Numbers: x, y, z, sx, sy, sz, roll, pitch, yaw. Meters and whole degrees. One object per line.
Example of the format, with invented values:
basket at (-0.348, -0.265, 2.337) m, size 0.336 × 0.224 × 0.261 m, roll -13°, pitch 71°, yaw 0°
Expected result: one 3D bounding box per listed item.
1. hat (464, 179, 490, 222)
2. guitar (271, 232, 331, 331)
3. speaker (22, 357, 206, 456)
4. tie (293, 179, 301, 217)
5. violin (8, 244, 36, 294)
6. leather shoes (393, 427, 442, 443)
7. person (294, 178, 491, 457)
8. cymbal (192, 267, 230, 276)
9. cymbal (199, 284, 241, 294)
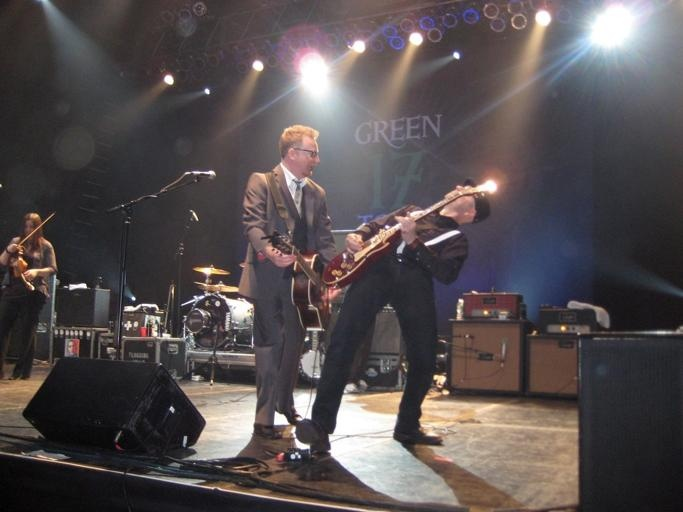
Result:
hat at (1.143, -0.453, 4.870) m, size 0.131 × 0.346 × 0.236 m, roll -16°, pitch 0°, yaw -28°
guitar at (-0.265, 0.226, 4.597) m, size 0.117 × 0.387 × 0.761 m, roll -4°, pitch -43°, yaw 19°
speaker at (-1.543, 0.993, 4.074) m, size 1.108 × 0.591 × 0.520 m, roll 5°, pitch -9°, yaw 0°
tie at (-0.354, -0.491, 4.853) m, size 0.029 × 0.226 × 0.108 m, roll 0°, pitch -5°, yaw 23°
violin at (-4.068, 0.178, 7.627) m, size 0.245 × 0.490 × 0.460 m, roll -12°, pitch 18°, yaw -9°
leather shoes at (0.581, 1.366, 4.653) m, size 0.333 × 0.152 × 0.128 m, roll -1°, pitch -13°, yaw 6°
person at (0.428, 0.383, 4.563) m, size 1.301 × 2.151 × 0.576 m, roll 6°, pitch -9°, yaw -5°
cymbal at (-2.186, 0.239, 9.867) m, size 0.362 × 0.089 × 0.376 m, roll 2°, pitch -2°, yaw 2°
cymbal at (-1.941, 0.511, 9.506) m, size 0.348 × 0.087 × 0.361 m, roll 2°, pitch 0°, yaw 7°
